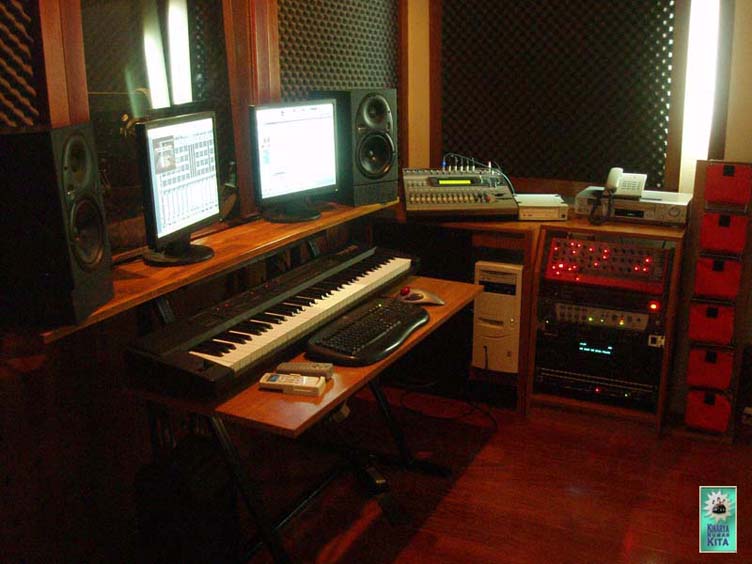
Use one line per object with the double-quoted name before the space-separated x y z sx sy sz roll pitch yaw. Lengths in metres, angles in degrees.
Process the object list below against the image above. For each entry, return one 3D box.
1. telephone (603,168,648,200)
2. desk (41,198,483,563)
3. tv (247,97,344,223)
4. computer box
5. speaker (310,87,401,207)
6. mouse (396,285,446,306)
"telephone" 1.213 -0.482 2.969 0.160 0.052 0.228 7 33 26
"desk" -0.362 0.380 2.418 0.892 1.092 1.678 13 25 34
"tv" -0.358 -0.537 2.603 0.267 0.476 0.427 13 24 37
"computer box" 0.686 0.174 3.251 0.330 0.575 0.350 2 12 12
"speaker" -0.067 -0.664 2.912 0.354 0.482 0.366 4 15 21
"mouse" 0.193 0.047 2.605 0.138 0.052 0.088 1 14 0
